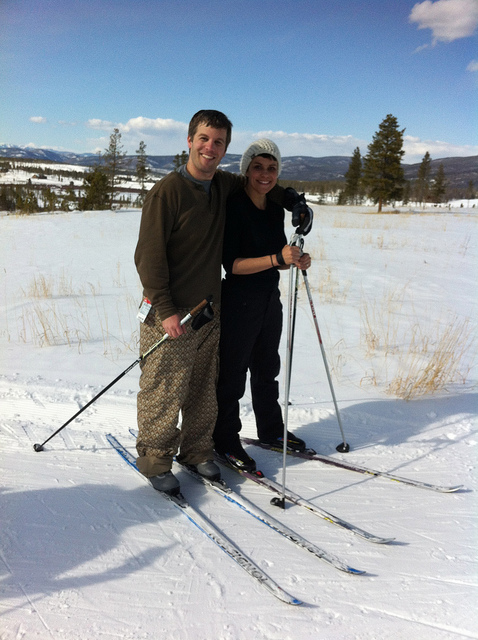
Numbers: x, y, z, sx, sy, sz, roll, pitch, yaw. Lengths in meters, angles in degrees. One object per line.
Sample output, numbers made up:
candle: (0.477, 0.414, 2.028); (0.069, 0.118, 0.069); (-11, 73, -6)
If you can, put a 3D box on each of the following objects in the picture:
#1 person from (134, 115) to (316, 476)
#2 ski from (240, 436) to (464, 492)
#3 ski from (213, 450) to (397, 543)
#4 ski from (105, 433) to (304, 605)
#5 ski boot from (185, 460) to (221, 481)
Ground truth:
person: (-0.329, -0.094, 3.158); (0.572, 2.133, 0.889); (0, 12, -9)
ski: (0.731, 0.934, 3.408); (1.309, 0.108, 0.129); (10, 45, 33)
ski: (0.362, 1.007, 2.994); (0.077, 0.087, 1.000); (12, 8, -45)
ski: (-0.187, 1.011, 2.686); (1.181, 0.064, 0.101); (24, 34, 31)
ski boot: (-0.218, 0.898, 3.205); (0.075, 0.090, 0.206); (4, 1, -44)
